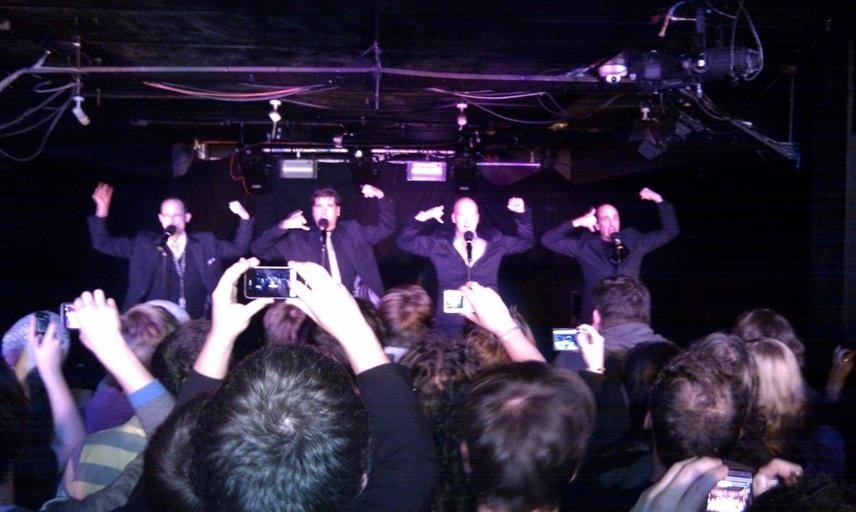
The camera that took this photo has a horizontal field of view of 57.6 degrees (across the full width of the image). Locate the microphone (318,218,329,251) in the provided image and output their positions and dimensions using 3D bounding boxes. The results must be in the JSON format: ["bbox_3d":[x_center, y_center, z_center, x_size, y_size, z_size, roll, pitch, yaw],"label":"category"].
[{"bbox_3d":[-1.258,-0.267,9.411,0.117,0.361,0.100,1,-7,2],"label":"microphone"}]

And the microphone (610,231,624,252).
[{"bbox_3d":[2.176,-0.162,9.001,0.130,0.237,0.307,1,-5,8],"label":"microphone"}]

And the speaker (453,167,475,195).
[{"bbox_3d":[0.461,-0.974,9.825,0.346,0.267,0.561,-3,5,2],"label":"speaker"}]

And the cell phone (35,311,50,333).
[{"bbox_3d":[-2.941,0.503,5.945,0.141,0.161,0.059,-1,9,-40],"label":"cell phone"}]
